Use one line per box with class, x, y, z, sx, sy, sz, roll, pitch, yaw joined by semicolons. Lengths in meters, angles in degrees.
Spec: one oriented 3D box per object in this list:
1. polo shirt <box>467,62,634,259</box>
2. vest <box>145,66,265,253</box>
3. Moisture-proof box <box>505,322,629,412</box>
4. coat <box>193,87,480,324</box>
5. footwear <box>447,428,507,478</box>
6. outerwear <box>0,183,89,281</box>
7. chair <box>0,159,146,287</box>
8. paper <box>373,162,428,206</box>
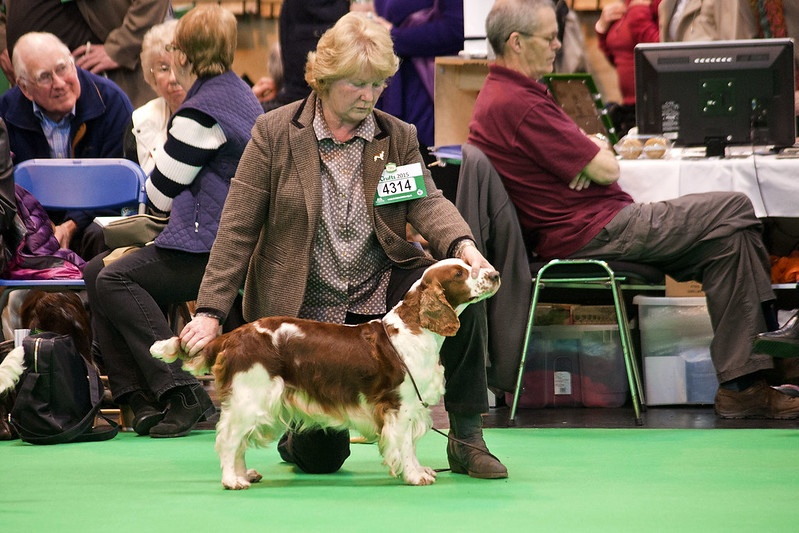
polo shirt;1.062;-0.726;5.984;1.019;1.234;1.015;-14;11;22
vest;-1.155;-0.639;5.382;0.570;0.996;0.969;-1;11;-7
Moisture-proof box;1.126;0.664;6.183;0.849;0.573;0.527;-2;1;18
coat;-0.280;-0.277;4.419;1.356;1.116;0.795;-4;-6;3
footwear;0.362;0.859;4.279;0.142;0.270;0.384;0;0;-35
outerwear;-2.221;-0.180;5.619;0.200;0.594;0.446;-34;-34;32
chair;-2.276;-0.509;6.369;0.992;0.893;0.735;1;34;-19
paper;-0.005;-0.396;4.339;0.213;0.167;0.017;-4;-20;-4
